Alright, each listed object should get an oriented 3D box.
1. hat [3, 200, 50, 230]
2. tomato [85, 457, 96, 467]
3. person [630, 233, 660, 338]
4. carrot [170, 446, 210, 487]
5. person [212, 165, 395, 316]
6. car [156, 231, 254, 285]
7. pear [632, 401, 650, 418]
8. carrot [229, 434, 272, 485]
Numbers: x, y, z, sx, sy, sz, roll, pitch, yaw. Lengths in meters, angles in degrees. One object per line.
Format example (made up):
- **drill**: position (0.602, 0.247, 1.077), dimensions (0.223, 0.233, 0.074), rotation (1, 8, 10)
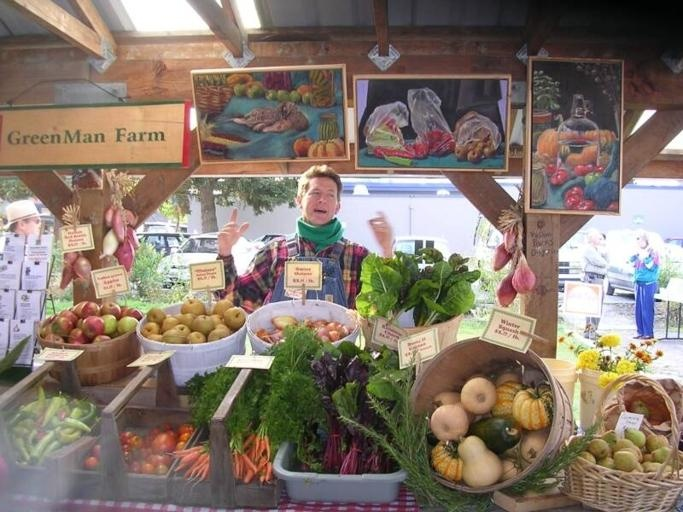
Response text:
- **hat**: position (-3.812, -0.501, 6.157), dimensions (0.333, 0.338, 0.461), rotation (-13, 17, -39)
- **tomato**: position (-1.296, 1.076, 2.655), dimensions (0.059, 0.044, 0.033), rotation (1, 13, 14)
- **person**: position (5.143, 0.576, 8.711), dimensions (0.415, 1.862, 0.745), rotation (6, 14, 32)
- **carrot**: position (-0.744, 1.040, 2.583), dimensions (0.144, 0.062, 0.170), rotation (-7, 22, -17)
- **person**: position (-0.322, -0.100, 4.319), dimensions (1.455, 1.269, 0.760), rotation (-6, 13, -16)
- **car**: position (-3.103, 0.251, 11.605), dimensions (2.391, 1.263, 1.502), rotation (0, 3, -9)
- **pear**: position (1.679, 0.862, 2.876), dimensions (0.073, 0.085, 0.095), rotation (-10, -8, 24)
- **carrot**: position (-0.442, 1.048, 2.601), dimensions (0.155, 0.068, 0.228), rotation (1, 49, -6)
